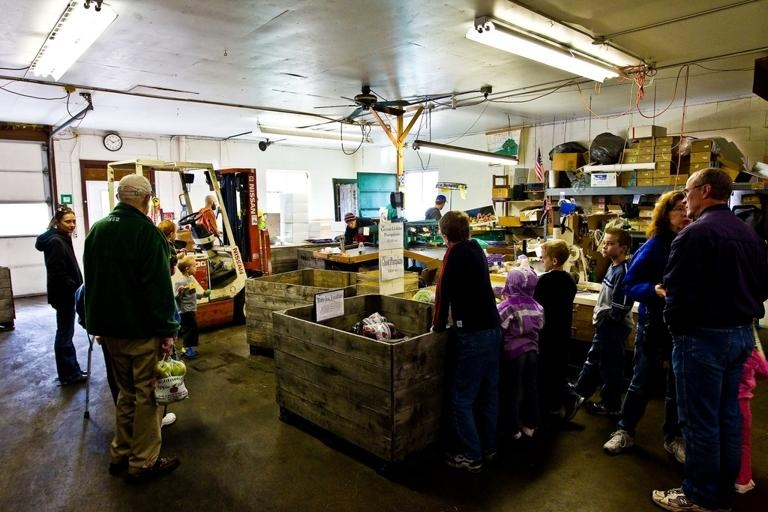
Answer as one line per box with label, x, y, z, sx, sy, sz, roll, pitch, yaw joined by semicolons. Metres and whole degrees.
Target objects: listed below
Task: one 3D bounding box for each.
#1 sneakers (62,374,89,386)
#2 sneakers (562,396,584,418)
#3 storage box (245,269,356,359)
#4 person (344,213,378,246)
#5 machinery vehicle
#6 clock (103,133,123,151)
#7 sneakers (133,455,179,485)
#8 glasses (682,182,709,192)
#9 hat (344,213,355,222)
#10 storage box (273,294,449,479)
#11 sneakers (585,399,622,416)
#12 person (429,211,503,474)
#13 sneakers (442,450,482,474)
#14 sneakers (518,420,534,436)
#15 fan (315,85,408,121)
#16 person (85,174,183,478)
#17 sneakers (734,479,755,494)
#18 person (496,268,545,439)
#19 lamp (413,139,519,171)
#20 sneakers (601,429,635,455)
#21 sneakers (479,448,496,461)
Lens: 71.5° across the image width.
sneakers;-3.997;1.581;6.863;0.376;0.142;0.134;6;-4;-44
sneakers;2.114;1.689;5.935;0.185;0.375;0.136;16;54;9
storage box;-1.096;0.611;7.585;1.427;0.971;1.376;5;8;44
person;-0.498;-0.543;10.535;0.647;0.627;1.456;-3;7;-3
machinery vehicle;-3.006;-0.223;9.100;3.162;2.558;1.226;-4;8;-41
clock;-6.228;-2.592;12.107;0.090;0.418;0.461;-3;4;40
sneakers;-2.249;2.101;5.243;0.155;0.169;0.414;10;13;41
glasses;2.849;-0.625;4.847;0.210;0.057;0.193;0;8;10
hat;-0.705;-0.760;10.457;0.241;0.164;0.197;-1;8;14
storage box;-0.061;1.264;5.827;1.649;1.352;2.049;-7;10;-44
sneakers;2.470;1.730;6.028;0.359;0.149;0.142;5;7;35
person;0.825;0.829;5.305;0.698;2.535;0.488;-2;8;7
sneakers;0.777;2.047;5.332;0.355;0.146;0.147;6;2;20
sneakers;1.516;1.844;5.703;0.123;0.118;0.136;3;14;1
fan;-0.381;-2.757;9.301;1.168;0.406;1.277;18;27;36
person;-2.484;0.683;5.224;0.833;2.932;0.495;-5;8;-19
sneakers;3.420;2.191;5.032;0.221;0.083;0.088;-4;1;-29
person;1.408;1.027;5.511;0.451;1.837;0.303;-1;8;10
lamp;1.570;-2.021;10.457;0.579;0.361;3.329;4;9;41
sneakers;2.406;1.916;5.463;0.367;0.140;0.159;4;-5;-33
sneakers;1.049;1.995;5.395;0.135;0.114;0.127;-5;9;-21
